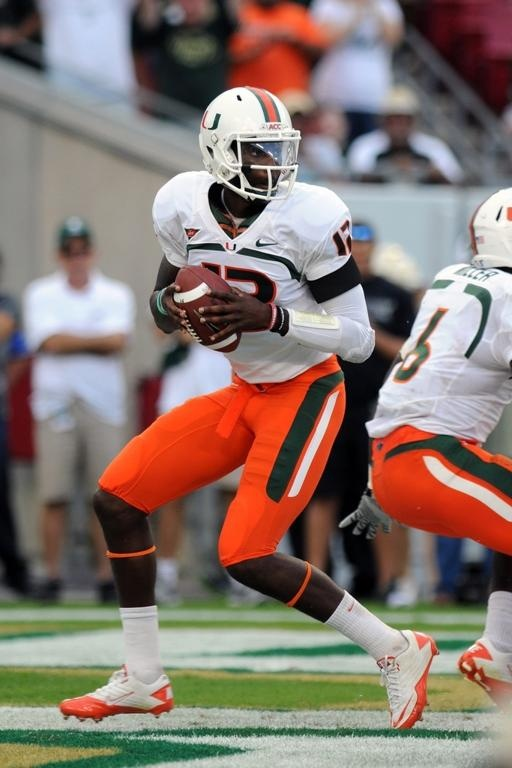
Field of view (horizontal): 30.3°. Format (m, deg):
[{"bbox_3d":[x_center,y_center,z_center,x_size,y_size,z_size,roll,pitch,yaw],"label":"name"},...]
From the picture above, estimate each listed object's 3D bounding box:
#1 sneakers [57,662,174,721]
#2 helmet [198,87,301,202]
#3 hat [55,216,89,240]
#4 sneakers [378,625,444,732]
[{"bbox_3d":[-0.384,0.760,2.348,0.364,0.133,0.106,1,-11,-15],"label":"sneakers"},{"bbox_3d":[-0.067,-0.618,2.399,0.272,0.257,0.338,-11,25,-29],"label":"helmet"},{"bbox_3d":[-0.764,-0.631,3.843,0.120,0.091,0.110,8,20,24],"label":"hat"},{"bbox_3d":[0.384,0.729,2.321,0.154,0.092,0.268,36,43,-8],"label":"sneakers"}]
